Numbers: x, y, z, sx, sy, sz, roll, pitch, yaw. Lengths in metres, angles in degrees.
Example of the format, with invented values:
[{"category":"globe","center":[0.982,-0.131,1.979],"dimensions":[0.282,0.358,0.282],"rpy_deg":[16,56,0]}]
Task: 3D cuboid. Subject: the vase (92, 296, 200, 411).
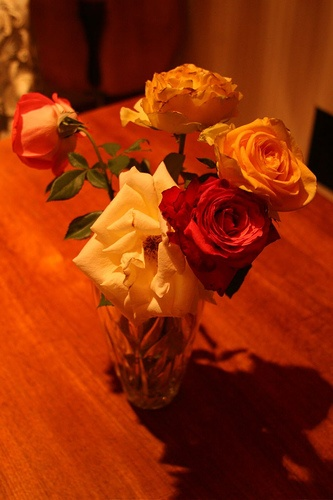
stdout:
[{"category":"vase","center":[0.003,0.116,0.510],"dimensions":[0.099,0.100,0.145],"rpy_deg":[22,54,-21]}]
